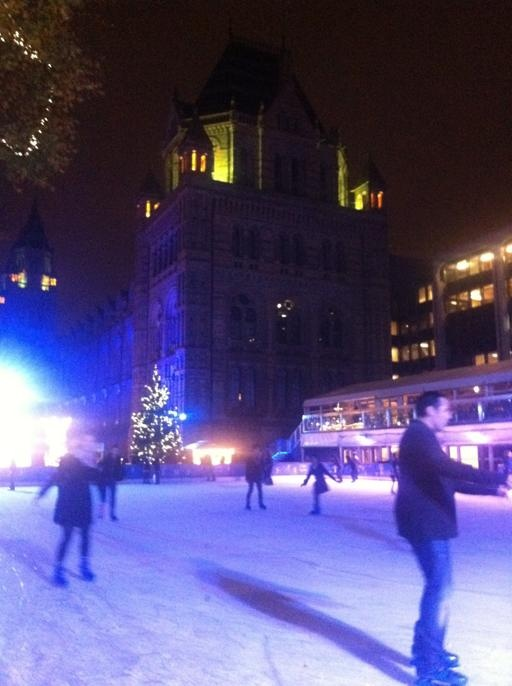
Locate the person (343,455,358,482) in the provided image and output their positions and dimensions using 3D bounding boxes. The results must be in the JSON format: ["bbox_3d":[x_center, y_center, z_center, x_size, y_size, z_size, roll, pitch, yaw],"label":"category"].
[{"bbox_3d":[5.012,6.567,35.723,0.773,1.737,0.499,-2,4,-31],"label":"person"}]

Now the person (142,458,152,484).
[{"bbox_3d":[-5.778,6.856,36.065,0.400,0.965,2.176,0,-10,-8],"label":"person"}]
